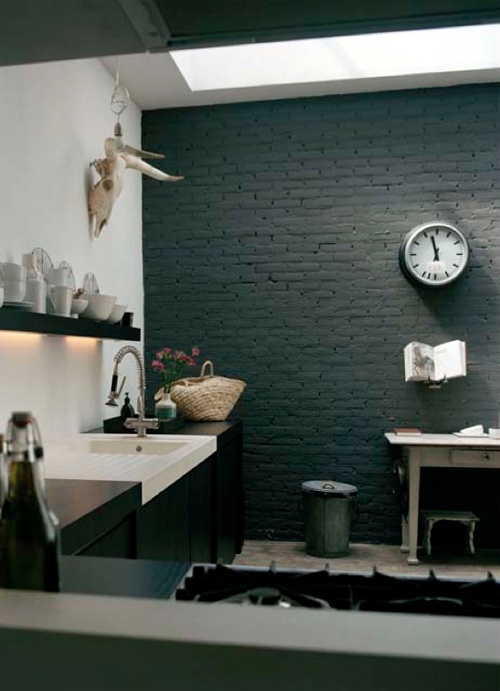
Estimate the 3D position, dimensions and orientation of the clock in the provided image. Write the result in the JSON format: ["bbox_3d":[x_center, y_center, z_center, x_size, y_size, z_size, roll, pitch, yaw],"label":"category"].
[{"bbox_3d":[1.041,-0.513,4.218,0.355,0.351,0.103,0,-2,10],"label":"clock"}]

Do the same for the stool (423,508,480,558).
[{"bbox_3d":[1.072,1.002,4.031,0.286,0.169,0.217,2,0,3],"label":"stool"}]

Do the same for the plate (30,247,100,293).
[{"bbox_3d":[-0.750,-0.300,3.071,0.249,0.198,0.132,-4,-1,-5],"label":"plate"}]

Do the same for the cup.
[{"bbox_3d":[-0.744,-0.193,2.536,0.152,0.142,0.236,-2,0,10],"label":"cup"}]

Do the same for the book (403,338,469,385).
[{"bbox_3d":[1.026,0.098,4.156,0.353,0.238,0.291,-1,-2,13],"label":"book"}]

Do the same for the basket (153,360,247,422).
[{"bbox_3d":[-0.239,0.267,4.038,0.360,0.203,0.322,2,-7,-21],"label":"basket"}]

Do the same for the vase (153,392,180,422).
[{"bbox_3d":[-0.401,0.294,3.577,0.136,0.121,0.123,2,-5,-23],"label":"vase"}]

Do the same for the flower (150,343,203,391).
[{"bbox_3d":[-0.446,0.127,4.324,0.321,0.295,0.264,0,-3,-15],"label":"flower"}]

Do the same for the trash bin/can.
[{"bbox_3d":[0.447,0.940,4.065,0.386,0.363,0.348,8,-16,-19],"label":"trash bin/can"}]
